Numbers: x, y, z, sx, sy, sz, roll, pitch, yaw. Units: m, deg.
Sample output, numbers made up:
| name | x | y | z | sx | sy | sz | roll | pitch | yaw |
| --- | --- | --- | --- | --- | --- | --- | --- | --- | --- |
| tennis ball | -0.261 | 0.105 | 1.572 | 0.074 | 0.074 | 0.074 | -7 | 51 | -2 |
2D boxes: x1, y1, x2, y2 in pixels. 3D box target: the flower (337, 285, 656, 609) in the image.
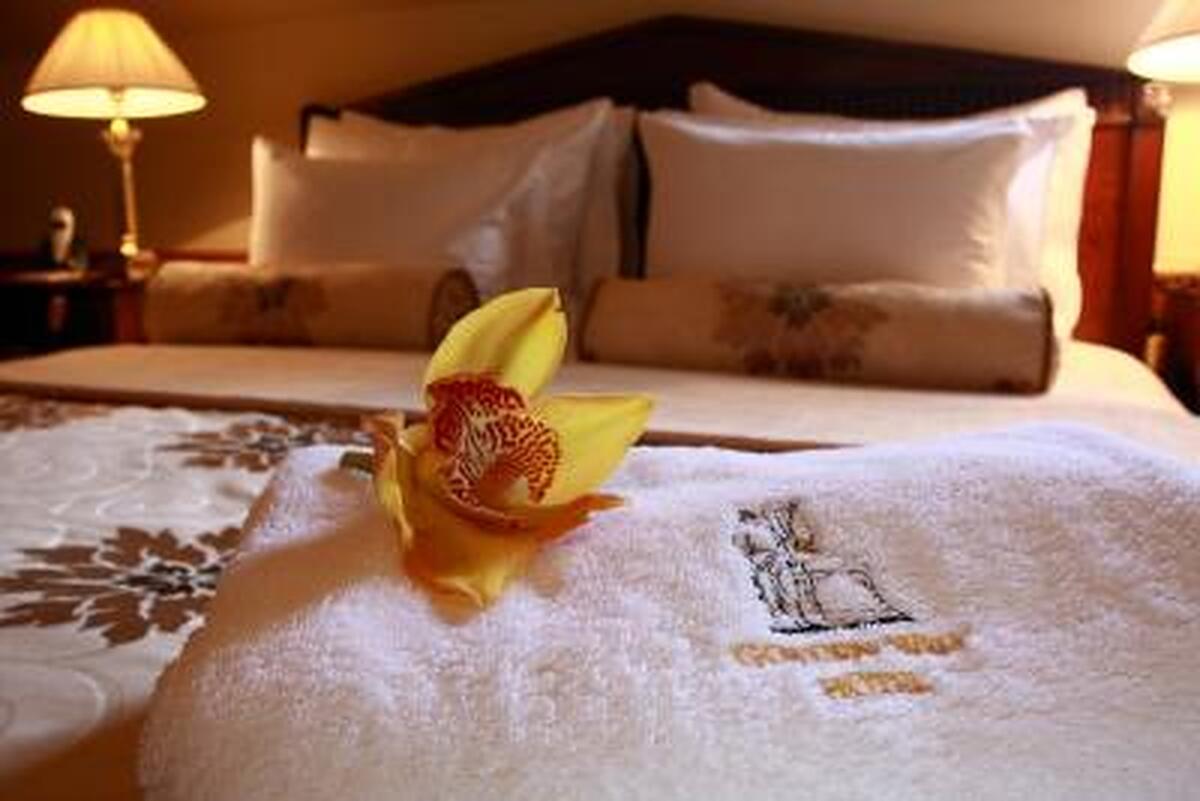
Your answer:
| name | x | y | z | sx | sy | sz | roll | pitch | yaw |
| --- | --- | --- | --- | --- | --- | --- | --- | --- | --- |
| flower | -0.086 | 0.049 | 0.838 | 0.251 | 0.249 | 0.118 | 14 | -28 | -19 |
